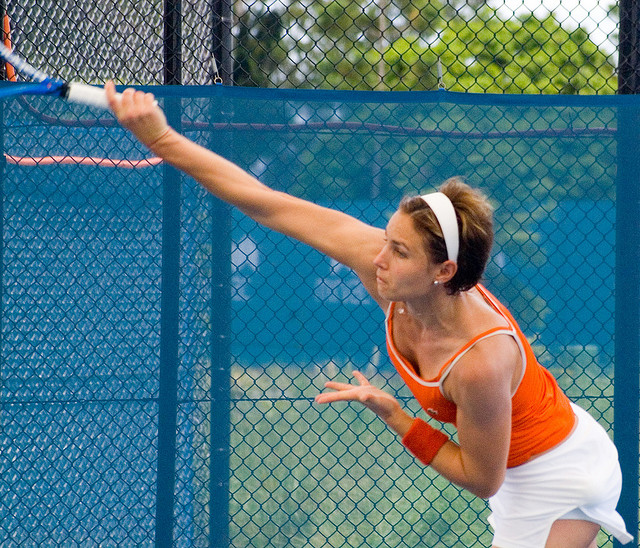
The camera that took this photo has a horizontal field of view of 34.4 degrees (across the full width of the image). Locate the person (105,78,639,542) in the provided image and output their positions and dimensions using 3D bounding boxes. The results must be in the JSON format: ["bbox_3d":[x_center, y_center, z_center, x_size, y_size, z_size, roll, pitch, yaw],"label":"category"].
[{"bbox_3d":[0.352,0.318,3.830,1.826,1.373,0.643,12,14,9],"label":"person"}]

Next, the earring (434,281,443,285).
[{"bbox_3d":[0.412,0.030,3.622,0.028,0.020,0.020,13,14,12],"label":"earring"}]

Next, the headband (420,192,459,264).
[{"bbox_3d":[0.406,-0.162,3.586,0.046,0.220,0.149,-2,2,-8],"label":"headband"}]
